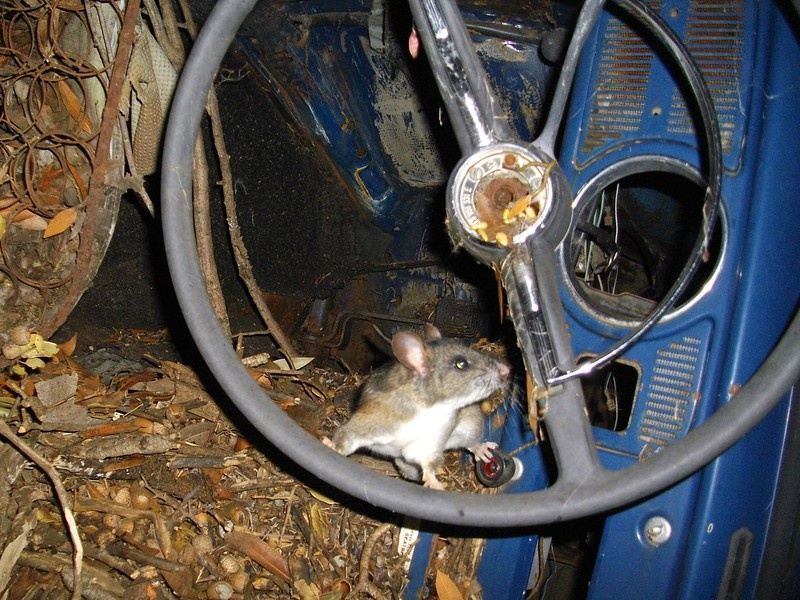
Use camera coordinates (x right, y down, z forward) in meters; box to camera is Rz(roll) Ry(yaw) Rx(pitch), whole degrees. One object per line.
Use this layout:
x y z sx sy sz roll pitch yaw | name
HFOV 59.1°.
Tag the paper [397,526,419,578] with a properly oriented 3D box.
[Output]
0.023 1.015 2.876 0.078 0.158 0.068 13 -25 2 | paper
